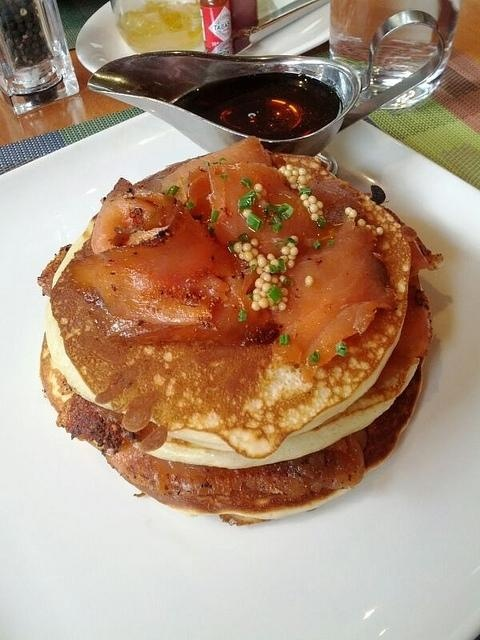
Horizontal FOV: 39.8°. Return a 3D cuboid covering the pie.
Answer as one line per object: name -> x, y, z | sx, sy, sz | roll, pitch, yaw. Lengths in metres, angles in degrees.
pie -> 0.021, 0.078, 1.782 | 0.990, 0.847, 0.756 | -29, 47, -21
